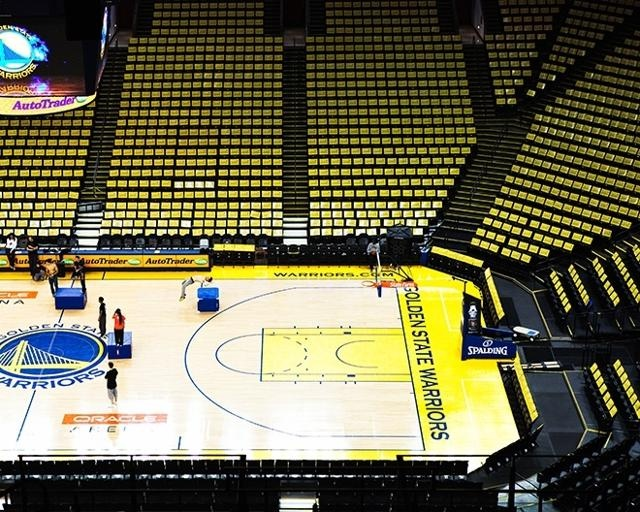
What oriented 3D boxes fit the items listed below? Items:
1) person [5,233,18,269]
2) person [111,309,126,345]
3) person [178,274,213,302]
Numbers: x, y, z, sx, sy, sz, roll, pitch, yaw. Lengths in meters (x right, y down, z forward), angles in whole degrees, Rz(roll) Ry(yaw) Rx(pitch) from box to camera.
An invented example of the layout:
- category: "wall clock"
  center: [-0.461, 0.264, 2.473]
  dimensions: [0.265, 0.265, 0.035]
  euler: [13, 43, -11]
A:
- category: "person"
  center: [-12.232, -0.147, 29.844]
  dimensions: [0.436, 1.325, 1.037]
  euler: [5, -28, -11]
- category: "person"
  center: [-6.472, 2.273, 24.337]
  dimensions: [0.373, 1.191, 1.342]
  euler: [5, -28, -12]
- category: "person"
  center: [-4.734, 1.291, 28.041]
  dimensions: [1.110, 1.035, 0.529]
  euler: [3, 1, -1]
